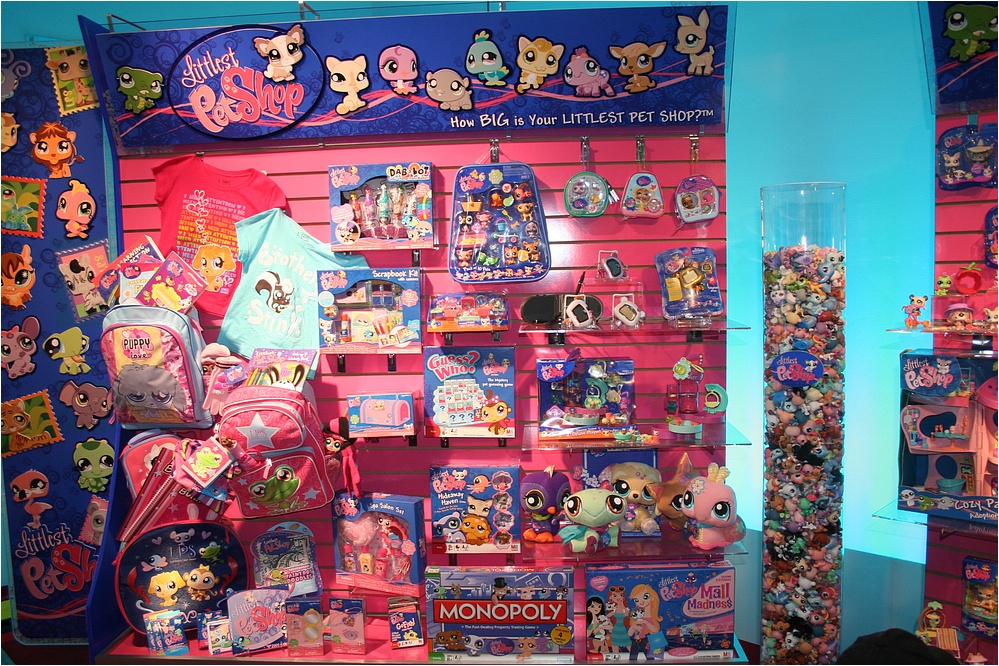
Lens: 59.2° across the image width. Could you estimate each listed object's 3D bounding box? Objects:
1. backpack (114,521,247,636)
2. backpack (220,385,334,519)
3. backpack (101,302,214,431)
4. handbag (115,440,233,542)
[{"bbox_3d":[-2.014,1.561,5.639,0.187,0.600,0.866,-14,-4,31],"label":"backpack"},{"bbox_3d":[-1.426,0.735,5.541,0.644,0.794,0.438,-7,23,1],"label":"backpack"},{"bbox_3d":[-2.167,0.214,5.636,0.661,0.830,0.482,1,23,1],"label":"backpack"},{"bbox_3d":[-1.969,0.981,5.517,0.812,0.689,0.307,-1,-2,24],"label":"handbag"}]
